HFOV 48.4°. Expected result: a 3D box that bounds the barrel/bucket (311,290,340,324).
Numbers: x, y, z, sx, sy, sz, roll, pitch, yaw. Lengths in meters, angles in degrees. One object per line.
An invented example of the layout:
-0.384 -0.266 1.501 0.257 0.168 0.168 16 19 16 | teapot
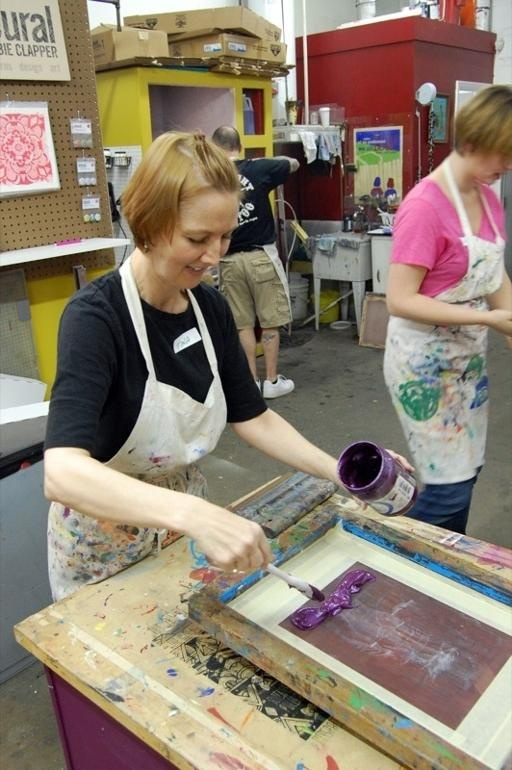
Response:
0.795 -0.841 6.167 0.296 0.337 0.326 5 8 30 | barrel/bucket

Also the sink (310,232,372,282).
0.832 -1.253 5.605 0.564 0.388 0.428 11 19 21 | sink

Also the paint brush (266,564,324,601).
0.066 0.348 0.999 0.042 0.146 0.032 -26 37 54 | paint brush

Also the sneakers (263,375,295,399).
0.179 -0.007 4.369 0.111 0.137 0.300 12 25 35 | sneakers

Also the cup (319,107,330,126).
0.698 -2.739 5.838 0.115 0.205 0.246 -3 16 8 | cup

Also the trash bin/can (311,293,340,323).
0.747 -0.845 6.173 0.278 0.299 0.293 2 6 14 | trash bin/can
